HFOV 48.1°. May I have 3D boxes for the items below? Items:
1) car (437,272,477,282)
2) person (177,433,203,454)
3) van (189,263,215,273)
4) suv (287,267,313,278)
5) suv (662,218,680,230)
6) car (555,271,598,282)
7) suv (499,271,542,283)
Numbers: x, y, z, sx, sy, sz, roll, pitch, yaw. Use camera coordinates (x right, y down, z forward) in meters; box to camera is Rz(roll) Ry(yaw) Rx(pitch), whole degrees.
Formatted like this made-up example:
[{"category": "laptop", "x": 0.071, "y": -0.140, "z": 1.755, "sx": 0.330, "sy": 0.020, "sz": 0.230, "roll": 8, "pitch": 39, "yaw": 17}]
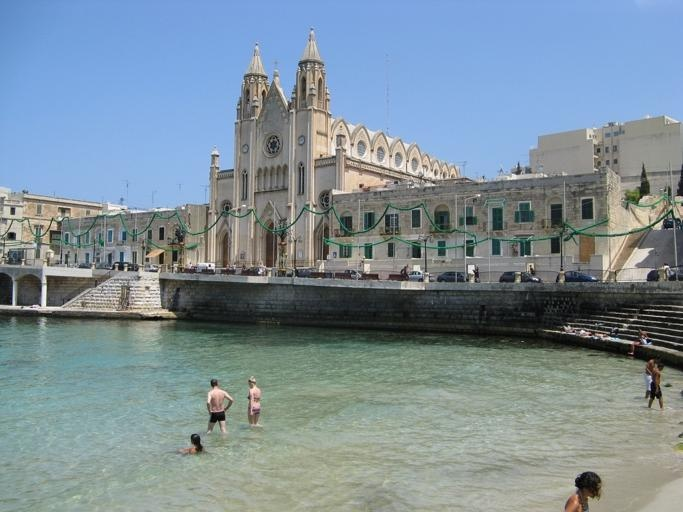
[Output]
[{"category": "car", "x": 7.646, "y": 1.474, "z": 52.199, "sx": 1.874, "sy": 0.665, "sz": 0.872, "roll": -2, "pitch": 2, "yaw": 15}, {"category": "person", "x": -5.159, "y": 6.555, "z": 26.617, "sx": 0.808, "sy": 0.639, "sz": 0.582, "roll": -2, "pitch": -9, "yaw": 39}, {"category": "van", "x": -11.173, "y": 0.981, "z": 61.484, "sx": 1.855, "sy": 0.953, "sz": 1.121, "roll": 3, "pitch": 0, "yaw": 16}, {"category": "suv", "x": -3.088, "y": 1.263, "z": 56.318, "sx": 1.516, "sy": 0.721, "sz": 4.610, "roll": -2, "pitch": 6, "yaw": -12}, {"category": "suv", "x": 25.392, "y": -2.494, "z": 58.943, "sx": 1.255, "sy": 0.969, "sz": 1.919, "roll": 0, "pitch": 7, "yaw": 16}, {"category": "car", "x": 14.685, "y": 1.337, "z": 47.931, "sx": 1.952, "sy": 0.913, "sz": 1.087, "roll": -3, "pitch": -3, "yaw": 26}, {"category": "suv", "x": 11.436, "y": 1.426, "z": 49.843, "sx": 1.914, "sy": 0.843, "sz": 1.130, "roll": -2, "pitch": -1, "yaw": 21}]
